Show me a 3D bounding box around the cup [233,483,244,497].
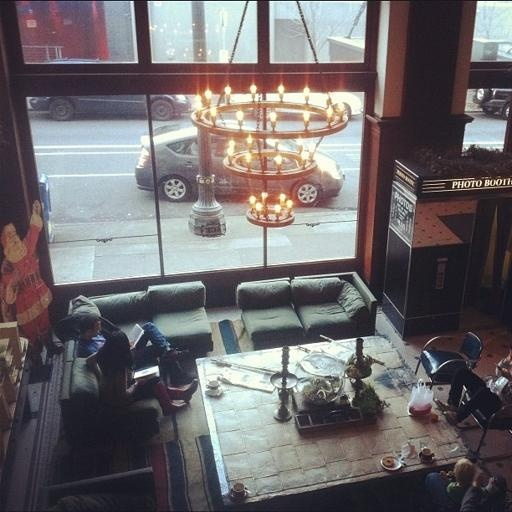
[{"bbox_3d":[-0.148,2.052,3.923,0.114,0.069,0.064,4,20,0],"label":"cup"}]

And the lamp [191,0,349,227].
[{"bbox_3d":[0.106,-2.004,5.826,1.628,3.393,1.312,-3,49,-4],"label":"lamp"}]

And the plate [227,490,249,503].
[{"bbox_3d":[-0.166,2.079,3.877,0.164,0.060,0.105,-3,17,7],"label":"plate"}]

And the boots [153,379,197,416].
[{"bbox_3d":[-1.013,1.772,5.564,0.504,0.337,0.177,-40,23,-7],"label":"boots"}]

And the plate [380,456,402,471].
[{"bbox_3d":[1.264,1.943,4.189,0.197,0.059,0.133,-7,16,-6],"label":"plate"}]

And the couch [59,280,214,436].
[{"bbox_3d":[-1.450,1.014,5.816,1.881,0.787,1.570,-9,59,-4],"label":"couch"}]

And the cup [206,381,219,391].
[{"bbox_3d":[-0.501,1.487,5.131,0.115,0.061,0.080,-3,23,-3],"label":"cup"}]

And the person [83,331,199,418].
[{"bbox_3d":[-1.262,1.428,5.360,1.131,0.699,0.498,11,-1,-11],"label":"person"}]

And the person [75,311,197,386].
[{"bbox_3d":[-1.599,1.230,5.914,1.686,0.850,0.659,2,10,-32],"label":"person"}]

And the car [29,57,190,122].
[{"bbox_3d":[-2.023,-2.411,6.462,2.007,0.594,0.801,-5,26,-8],"label":"car"}]

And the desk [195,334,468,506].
[{"bbox_3d":[0.723,1.864,4.946,2.489,0.851,1.976,-8,17,-10],"label":"desk"}]

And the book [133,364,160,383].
[{"bbox_3d":[-1.357,1.460,5.526,0.239,0.052,0.211,-5,12,4],"label":"book"}]

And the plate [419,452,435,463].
[{"bbox_3d":[1.623,1.904,4.252,0.161,0.086,0.089,-5,17,1],"label":"plate"}]

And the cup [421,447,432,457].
[{"bbox_3d":[1.616,1.869,4.253,0.069,0.060,0.082,-2,13,-2],"label":"cup"}]

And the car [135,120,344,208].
[{"bbox_3d":[-0.244,-1.532,7.202,2.970,0.951,1.325,-2,33,-4],"label":"car"}]
